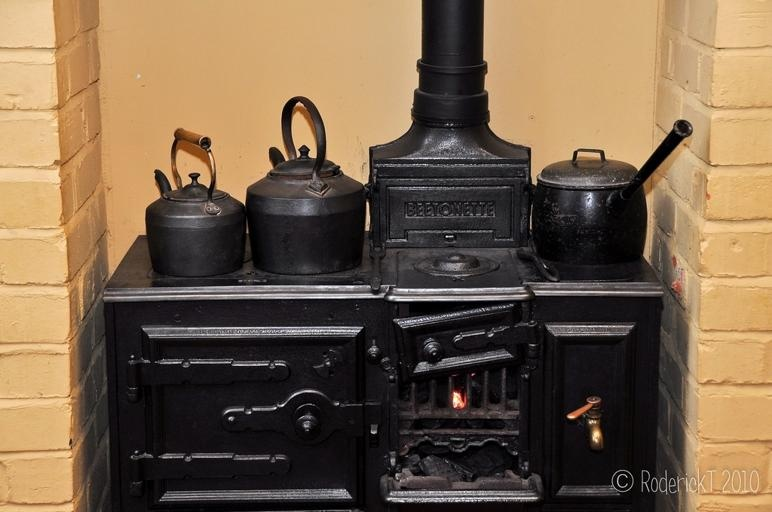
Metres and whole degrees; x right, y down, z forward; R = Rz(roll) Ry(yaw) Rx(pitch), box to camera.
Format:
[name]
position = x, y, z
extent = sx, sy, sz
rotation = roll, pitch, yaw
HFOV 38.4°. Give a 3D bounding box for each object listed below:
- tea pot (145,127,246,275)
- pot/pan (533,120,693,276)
[tea pot]
position = -0.676, -0.206, 3.767
extent = 0.336, 0.441, 0.466
rotation = -6, 16, -30
[pot/pan]
position = 0.734, -0.205, 3.642
extent = 0.385, 0.483, 0.615
rotation = -9, 16, -29
